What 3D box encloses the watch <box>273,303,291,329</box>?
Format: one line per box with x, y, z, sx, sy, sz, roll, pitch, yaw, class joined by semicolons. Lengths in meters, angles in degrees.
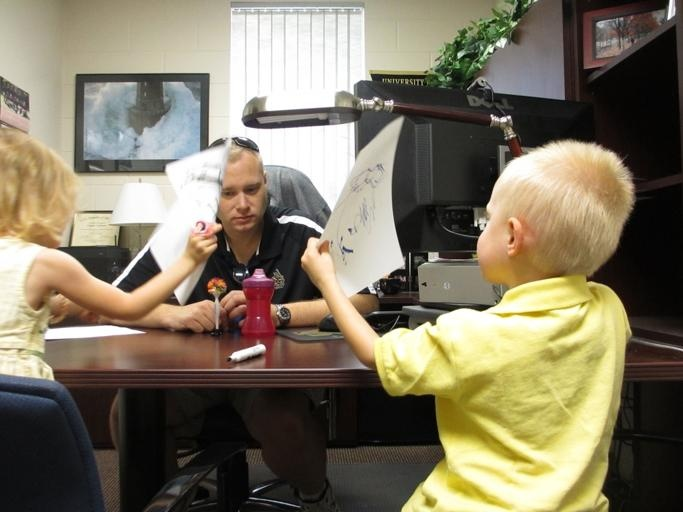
-0.165;0.162;1.694;0.034;0.061;0.055;0;-7;-32;watch

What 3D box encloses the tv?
0.287;-0.196;1.375;0.457;0.358;0.075;2;-4;-11;tv
